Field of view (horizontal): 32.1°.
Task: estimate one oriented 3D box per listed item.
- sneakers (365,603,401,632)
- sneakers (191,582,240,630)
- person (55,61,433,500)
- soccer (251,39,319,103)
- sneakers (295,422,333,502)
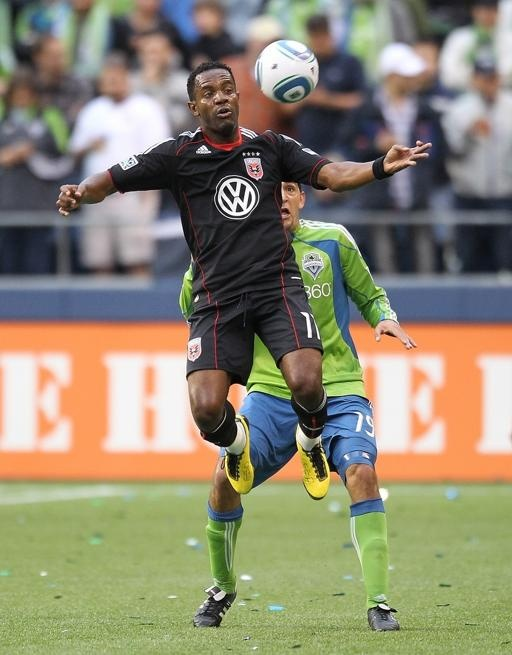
[{"bbox_3d":[0.471,1.066,3.277,0.082,0.074,0.115,5,-18,-16],"label":"sneakers"},{"bbox_3d":[-0.164,1.119,3.563,0.077,0.083,0.202,25,36,16],"label":"sneakers"},{"bbox_3d":[-0.052,-0.146,3.583,1.226,1.872,0.570,-2,7,6],"label":"person"},{"bbox_3d":[0.147,-1.257,4.387,0.355,0.300,0.335,-16,26,-28],"label":"soccer"},{"bbox_3d":[0.290,0.595,3.833,0.145,0.353,0.164,-14,2,-12],"label":"sneakers"}]
